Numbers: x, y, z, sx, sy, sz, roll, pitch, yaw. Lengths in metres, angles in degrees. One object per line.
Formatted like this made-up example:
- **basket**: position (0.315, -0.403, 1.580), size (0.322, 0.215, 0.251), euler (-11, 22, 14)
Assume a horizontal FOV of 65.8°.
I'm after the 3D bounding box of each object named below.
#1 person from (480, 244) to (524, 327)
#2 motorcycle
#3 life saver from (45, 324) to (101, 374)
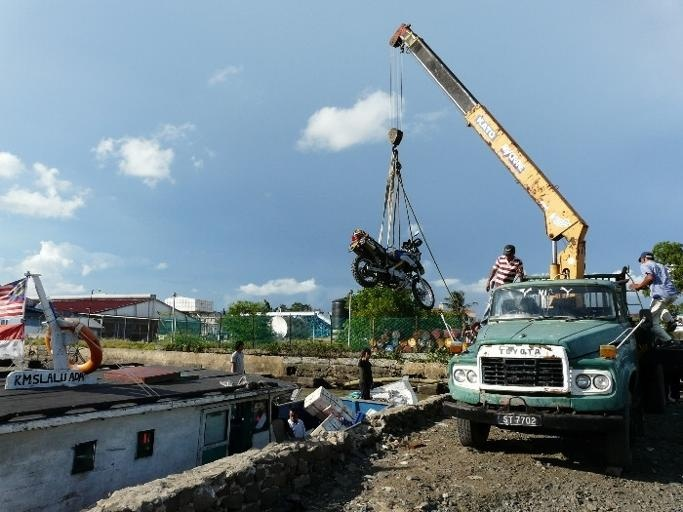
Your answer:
- **person**: position (3.675, 0.771, 11.769), size (0.808, 2.106, 0.535), euler (17, 32, 30)
- **motorcycle**: position (1.520, 0.256, 14.776), size (2.644, 1.860, 0.913), euler (17, -23, -21)
- **life saver**: position (-5.274, 1.858, 10.787), size (0.805, 1.093, 0.560), euler (0, -3, 16)
